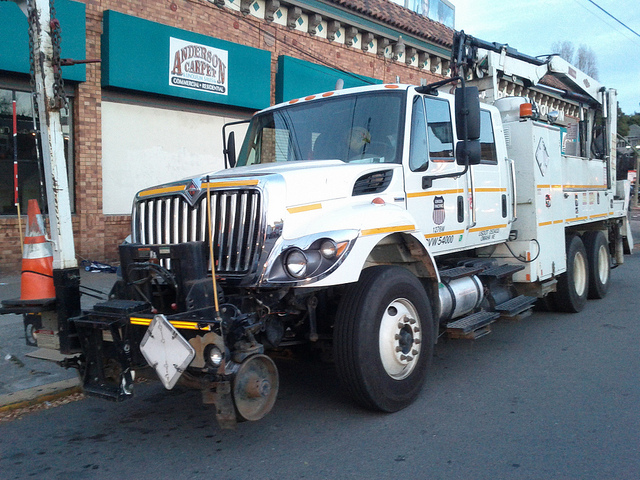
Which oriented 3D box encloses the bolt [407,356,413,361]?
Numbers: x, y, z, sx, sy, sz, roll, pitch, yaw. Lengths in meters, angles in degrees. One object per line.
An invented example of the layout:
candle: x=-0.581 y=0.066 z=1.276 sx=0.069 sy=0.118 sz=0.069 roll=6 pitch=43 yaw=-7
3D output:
bolt: x=0.904 y=1.186 z=5.382 sx=0.012 sy=0.061 sz=0.084 roll=3 pitch=8 yaw=38

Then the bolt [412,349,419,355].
bolt: x=0.978 y=1.133 z=5.443 sx=0.026 sy=0.062 sz=0.110 roll=4 pitch=8 yaw=40

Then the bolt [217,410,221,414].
bolt: x=-0.800 y=1.365 z=4.269 sx=0.013 sy=0.040 sz=0.044 roll=-7 pitch=8 yaw=-40

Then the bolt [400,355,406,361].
bolt: x=0.825 y=1.160 z=5.309 sx=0.071 sy=0.051 sz=0.012 roll=-6 pitch=8 yaw=-39

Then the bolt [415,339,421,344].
bolt: x=1.007 y=1.037 z=5.485 sx=0.049 sy=0.044 sz=0.039 roll=20 pitch=-2 yaw=33

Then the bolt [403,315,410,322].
bolt: x=0.866 y=0.793 z=5.400 sx=0.079 sy=0.062 sz=0.019 roll=-5 pitch=7 yaw=-33

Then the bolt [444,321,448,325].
bolt: x=1.536 y=1.001 z=6.532 sx=0.043 sy=0.042 sz=0.075 roll=-1 pitch=-6 yaw=16

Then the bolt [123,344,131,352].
bolt: x=-1.619 y=0.908 z=4.511 sx=0.060 sy=0.068 sz=0.010 roll=-4 pitch=7 yaw=-20

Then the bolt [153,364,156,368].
bolt: x=-1.357 y=1.031 z=4.403 sx=0.030 sy=0.028 sz=0.008 roll=4 pitch=-1 yaw=41

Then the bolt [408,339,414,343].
bolt: x=0.919 y=1.014 z=5.394 sx=0.007 sy=0.054 sz=0.104 roll=4 pitch=8 yaw=39

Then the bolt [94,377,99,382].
bolt: x=-1.949 y=1.216 z=4.684 sx=0.038 sy=0.034 sz=0.034 roll=-2 pitch=-6 yaw=-31

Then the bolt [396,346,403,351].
bolt: x=0.785 y=1.069 z=5.286 sx=0.086 sy=0.054 sz=0.008 roll=-7 pitch=8 yaw=-42

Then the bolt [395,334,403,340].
bolt: x=0.778 y=0.949 z=5.277 sx=0.027 sy=0.058 sz=0.105 roll=4 pitch=8 yaw=42

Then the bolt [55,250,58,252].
bolt: x=-2.437 y=0.097 z=4.969 sx=0.017 sy=0.013 sz=0.017 roll=4 pitch=4 yaw=21

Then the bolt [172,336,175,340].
bolt: x=-1.174 y=0.785 z=4.309 sx=0.029 sy=0.026 sz=0.007 roll=1 pitch=1 yaw=-33

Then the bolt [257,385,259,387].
bolt: x=-0.505 y=1.186 z=4.373 sx=0.009 sy=0.008 sz=0.015 roll=8 pitch=14 yaw=18

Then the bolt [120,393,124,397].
bolt: x=-1.660 y=1.303 z=4.514 sx=0.025 sy=0.030 sz=0.012 roll=-3 pitch=6 yaw=-13

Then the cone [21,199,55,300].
cone: x=-2.685 y=0.083 z=5.056 sx=0.287 sy=0.899 sz=0.475 roll=-5 pitch=7 yaw=-29

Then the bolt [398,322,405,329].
bolt: x=0.813 y=0.848 z=5.341 sx=0.080 sy=0.055 sz=0.019 roll=-6 pitch=8 yaw=-40

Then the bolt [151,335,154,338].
bolt: x=-1.369 y=0.789 z=4.394 sx=0.019 sy=0.018 sz=0.005 roll=15 pitch=9 yaw=14

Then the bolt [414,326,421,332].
bolt: x=1.006 y=0.916 z=5.485 sx=0.055 sy=0.051 sz=0.012 roll=0 pitch=-4 yaw=-33

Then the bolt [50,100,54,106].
bolt: x=-2.477 y=-1.273 z=4.966 sx=0.034 sy=0.046 sz=0.008 roll=-4 pitch=7 yaw=-25
